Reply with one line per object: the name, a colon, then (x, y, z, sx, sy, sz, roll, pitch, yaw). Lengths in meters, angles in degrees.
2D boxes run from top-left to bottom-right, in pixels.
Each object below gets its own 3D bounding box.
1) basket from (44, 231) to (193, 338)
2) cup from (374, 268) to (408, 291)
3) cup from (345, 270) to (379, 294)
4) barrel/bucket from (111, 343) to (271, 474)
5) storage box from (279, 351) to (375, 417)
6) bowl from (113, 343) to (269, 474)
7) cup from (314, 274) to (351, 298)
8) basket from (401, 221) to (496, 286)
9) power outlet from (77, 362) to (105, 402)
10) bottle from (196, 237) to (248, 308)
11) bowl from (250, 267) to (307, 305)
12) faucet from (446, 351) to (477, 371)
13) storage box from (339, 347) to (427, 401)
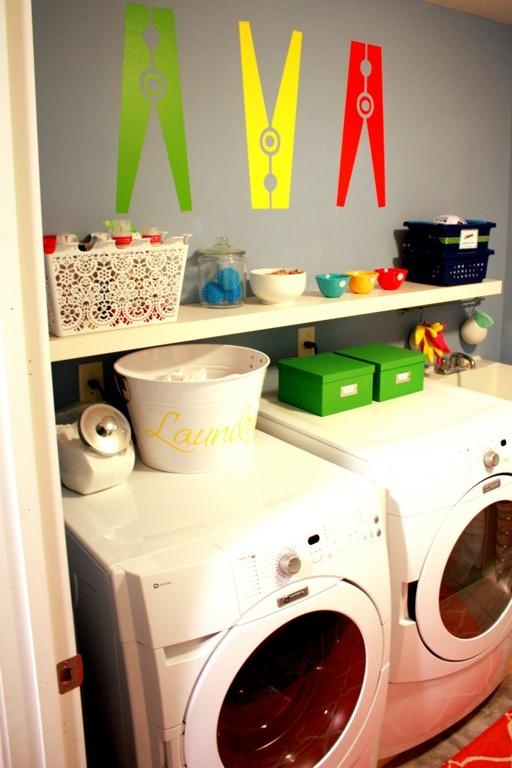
basket: (-0.271, -0.222, 1.118, 0.267, 0.173, 0.186, -12, 20, -33)
cup: (0.442, -0.326, 1.779, 0.088, 0.060, 0.091, -2, 7, 0)
cup: (0.329, -0.298, 1.646, 0.074, 0.054, 0.081, -3, 10, 0)
barrel/bucket: (-0.137, 0.042, 1.246, 0.294, 0.200, 0.315, -1, 18, 0)
storage box: (0.214, -0.027, 1.560, 0.185, 0.117, 0.183, -9, 15, -37)
bowl: (-0.144, 0.058, 1.292, 0.334, 0.228, 0.341, 1, 16, 0)
cup: (0.225, -0.271, 1.601, 0.074, 0.057, 0.085, -2, 4, -2)
basket: (0.650, -0.467, 1.963, 0.250, 0.208, 0.260, -14, 21, -33)
power outlet: (-0.412, -0.005, 1.370, 0.080, 0.144, 0.012, -8, 15, -39)
bottle: (-0.086, -0.287, 1.438, 0.126, 0.161, 0.124, -2, 17, 0)
bowl: (0.058, -0.264, 1.516, 0.141, 0.088, 0.187, -2, 18, -1)
faucet: (0.786, -0.086, 2.130, 0.062, 0.068, 0.103, -6, 16, -30)
storage box: (0.385, -0.023, 1.707, 0.253, 0.125, 0.268, -2, 11, 24)
